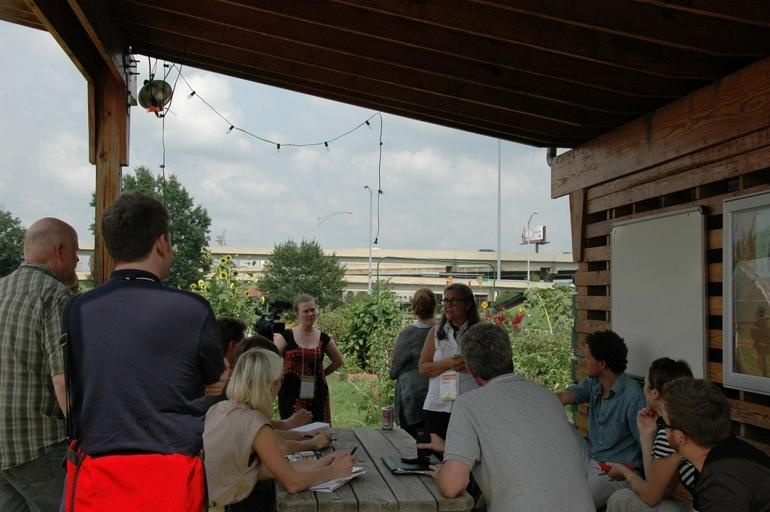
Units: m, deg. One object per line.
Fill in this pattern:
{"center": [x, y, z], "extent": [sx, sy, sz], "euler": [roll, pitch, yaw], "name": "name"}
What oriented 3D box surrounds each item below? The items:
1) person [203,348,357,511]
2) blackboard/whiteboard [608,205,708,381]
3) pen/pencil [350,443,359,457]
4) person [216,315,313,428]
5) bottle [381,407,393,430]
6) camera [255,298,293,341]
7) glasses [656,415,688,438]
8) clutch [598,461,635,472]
{"center": [-0.789, 1.132, 4.440], "extent": [0.929, 1.015, 0.636], "euler": [5, -5, -32], "name": "person"}
{"center": [2.179, 0.309, 5.173], "extent": [0.112, 1.591, 1.281], "euler": [3, -5, -15], "name": "blackboard/whiteboard"}
{"center": [-0.233, 1.444, 4.882], "extent": [0.022, 0.023, 0.105], "euler": [40, -43, -7], "name": "pen/pencil"}
{"center": [-0.963, 0.877, 5.155], "extent": [0.579, 0.837, 0.640], "euler": [4, -10, -4], "name": "person"}
{"center": [0.017, 1.345, 5.467], "extent": [0.097, 0.195, 0.071], "euler": [2, -4, -6], "name": "bottle"}
{"center": [-1.139, 0.637, 6.369], "extent": [0.282, 0.434, 0.159], "euler": [17, -21, -11], "name": "camera"}
{"center": [1.899, 1.139, 4.392], "extent": [0.210, 0.072, 0.208], "euler": [21, 4, 32], "name": "glasses"}
{"center": [1.727, 1.565, 4.883], "extent": [0.154, 0.062, 0.115], "euler": [3, -2, -27], "name": "clutch"}
